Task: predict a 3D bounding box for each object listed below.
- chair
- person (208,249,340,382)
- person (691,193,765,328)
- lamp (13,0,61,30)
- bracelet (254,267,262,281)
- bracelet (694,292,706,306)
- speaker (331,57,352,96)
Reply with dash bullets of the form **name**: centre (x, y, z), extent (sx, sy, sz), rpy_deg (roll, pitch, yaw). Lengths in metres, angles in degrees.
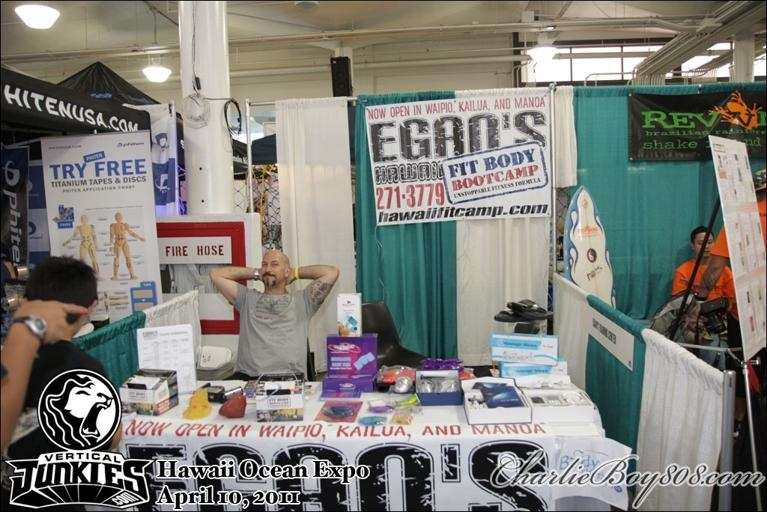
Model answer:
- **chair**: centre (0.022, 0.688, 5.563), extent (0.477, 0.764, 0.540), rpy_deg (0, -5, -25)
- **person**: centre (-0.922, 0.456, 5.063), extent (1.174, 1.226, 0.429), rpy_deg (1, -14, -5)
- **person**: centre (2.798, 0.006, 5.112), extent (0.450, 1.092, 1.520), rpy_deg (-1, 4, 18)
- **lamp**: centre (-1.974, -1.375, 3.613), extent (0.195, 0.072, 0.198), rpy_deg (-2, 1, -7)
- **bracelet**: centre (-0.976, 0.130, 4.899), extent (0.075, 0.098, 0.092), rpy_deg (3, -23, -6)
- **bracelet**: centre (2.531, 0.343, 5.051), extent (0.115, 0.027, 0.118), rpy_deg (-13, 21, 4)
- **speaker**: centre (-0.580, -2.480, 8.764), extent (0.255, 0.548, 0.316), rpy_deg (-3, 4, -8)
